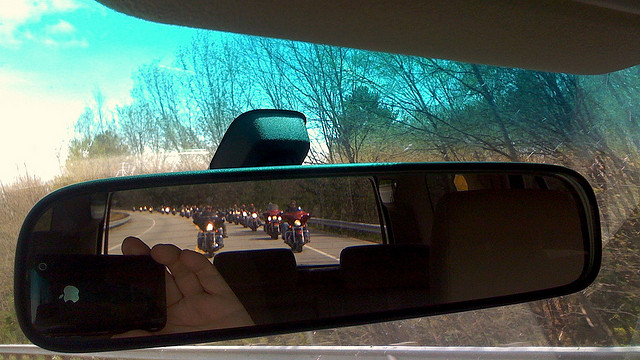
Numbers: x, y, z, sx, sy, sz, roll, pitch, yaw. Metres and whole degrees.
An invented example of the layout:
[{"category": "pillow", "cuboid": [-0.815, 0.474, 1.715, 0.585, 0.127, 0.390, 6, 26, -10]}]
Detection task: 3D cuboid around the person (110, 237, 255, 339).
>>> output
[{"category": "person", "cuboid": [-0.788, 0.631, 2.108, 0.783, 0.285, 0.220, 1, -6, -43]}]
